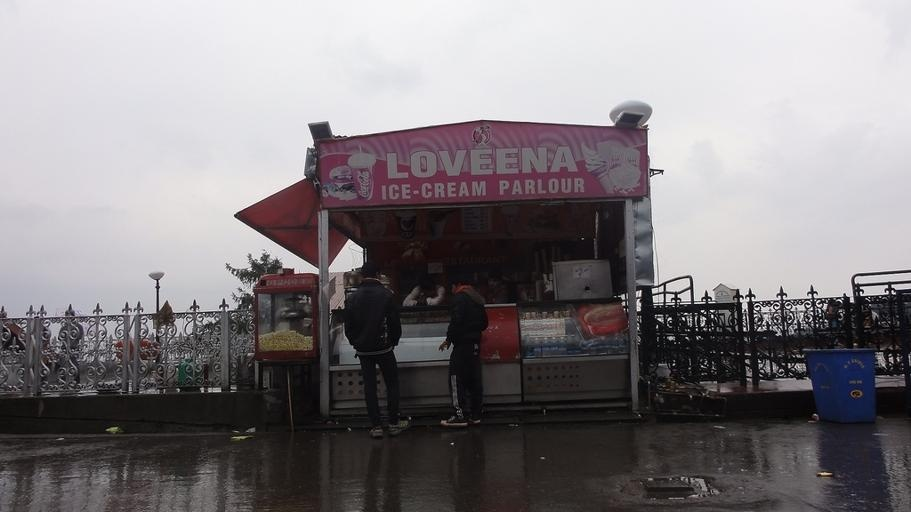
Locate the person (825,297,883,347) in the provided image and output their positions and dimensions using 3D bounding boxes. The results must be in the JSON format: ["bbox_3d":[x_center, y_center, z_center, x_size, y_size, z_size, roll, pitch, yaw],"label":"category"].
[{"bbox_3d":[8.014,1.326,21.702,1.074,1.003,0.281,-3,-10,1],"label":"person"}]

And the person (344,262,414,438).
[{"bbox_3d":[-1.498,1.683,19.505,0.969,3.177,0.369,-1,-11,-8],"label":"person"}]

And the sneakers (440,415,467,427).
[{"bbox_3d":[0.009,3.043,19.876,0.399,0.143,0.220,3,-9,-2],"label":"sneakers"}]

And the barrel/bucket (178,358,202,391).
[{"bbox_3d":[-5.205,2.183,21.089,0.512,0.718,0.481,4,22,-2],"label":"barrel/bucket"}]

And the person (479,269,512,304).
[{"bbox_3d":[0.885,0.589,23.211,0.694,0.599,1.113,-2,5,-2],"label":"person"}]

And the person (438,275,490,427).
[{"bbox_3d":[0.160,1.847,20.014,0.738,2.622,0.651,3,-12,-25],"label":"person"}]

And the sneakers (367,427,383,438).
[{"bbox_3d":[-1.432,3.176,19.331,0.131,0.118,0.272,2,0,-14],"label":"sneakers"}]

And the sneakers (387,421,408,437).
[{"bbox_3d":[-1.050,3.141,19.605,0.161,0.176,0.441,0,0,16],"label":"sneakers"}]
